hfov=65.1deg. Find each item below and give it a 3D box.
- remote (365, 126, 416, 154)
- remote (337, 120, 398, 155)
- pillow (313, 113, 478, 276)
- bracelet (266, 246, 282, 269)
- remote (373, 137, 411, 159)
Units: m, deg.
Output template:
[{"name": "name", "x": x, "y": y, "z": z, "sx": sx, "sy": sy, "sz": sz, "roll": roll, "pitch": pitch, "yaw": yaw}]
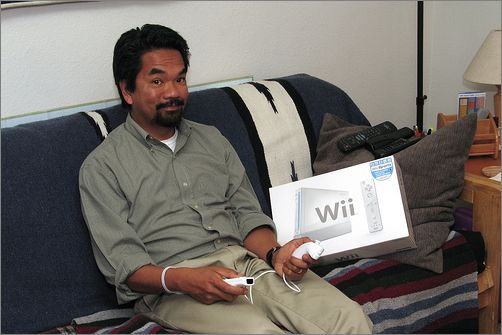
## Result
[{"name": "remote", "x": 0.736, "y": -0.165, "z": 2.082, "sx": 0.335, "sy": 0.078, "sz": 0.106, "roll": -24, "pitch": 33, "yaw": -30}, {"name": "remote", "x": 0.664, "y": -0.161, "z": 2.156, "sx": 0.439, "sy": 0.065, "sz": 0.128, "roll": -26, "pitch": 51, "yaw": -27}, {"name": "pillow", "x": 0.871, "y": 0.129, "z": 2.104, "sx": 0.744, "sy": 0.743, "sz": 0.220, "roll": 15, "pitch": -3, "yaw": 16}, {"name": "bracelet", "x": 0.097, "y": 0.374, "z": 1.645, "sx": 0.079, "sy": 0.077, "sz": 0.029, "roll": 16, "pitch": -10, "yaw": 27}, {"name": "remote", "x": 0.715, "y": -0.125, "z": 1.980, "sx": 0.180, "sy": 0.037, "sz": 0.091, "roll": -24, "pitch": 37, "yaw": -8}]
